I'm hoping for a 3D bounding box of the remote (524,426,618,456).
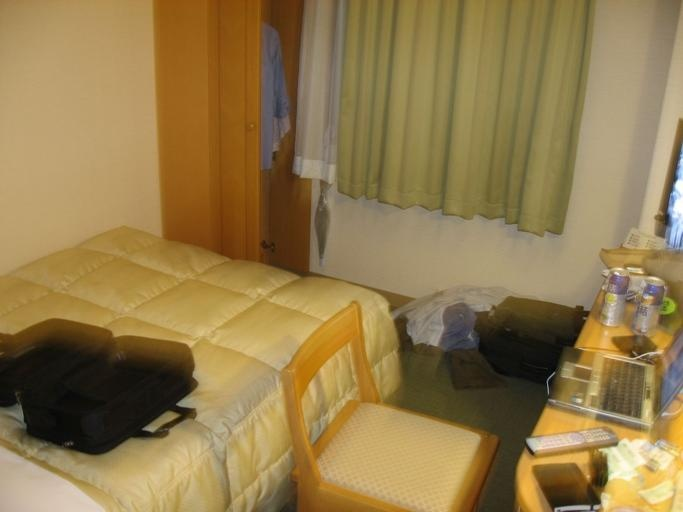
[{"bbox_3d":[0.666,0.531,1.551,0.299,0.047,0.096,-4,20,-7],"label":"remote"}]

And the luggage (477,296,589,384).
[{"bbox_3d":[1.114,0.488,3.139,0.500,0.172,0.502,0,35,30],"label":"luggage"}]
